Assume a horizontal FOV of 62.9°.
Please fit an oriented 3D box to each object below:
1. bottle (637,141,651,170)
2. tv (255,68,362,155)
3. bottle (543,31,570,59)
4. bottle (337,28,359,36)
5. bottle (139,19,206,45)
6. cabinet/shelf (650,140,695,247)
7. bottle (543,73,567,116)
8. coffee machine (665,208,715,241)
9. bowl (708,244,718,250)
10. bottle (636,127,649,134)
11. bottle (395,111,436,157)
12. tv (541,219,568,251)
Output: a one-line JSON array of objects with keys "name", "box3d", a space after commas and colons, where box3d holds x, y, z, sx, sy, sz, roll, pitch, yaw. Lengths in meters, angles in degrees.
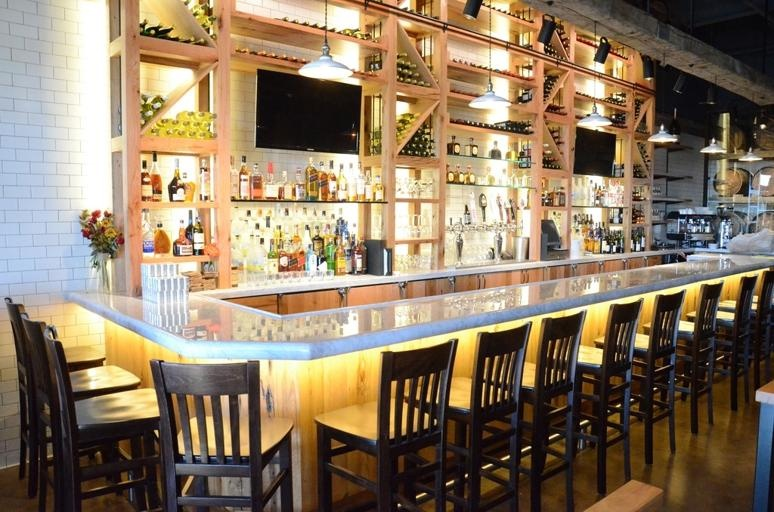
[{"name": "bottle", "box3d": [4.107, -1.590, 10.114, 0.137, 0.451, 0.171, -7, -12, -41]}, {"name": "tv", "box3d": [-0.804, -1.483, 6.551, 1.158, 0.797, 0.048, -7, 17, -30]}, {"name": "bottle", "box3d": [2.255, -2.800, 8.453, 0.460, 0.345, 0.249, -20, 13, -41]}, {"name": "bottle", "box3d": [-0.400, -2.321, 6.579, 0.221, 0.069, 0.112, -12, 20, -43]}, {"name": "bottle", "box3d": [-1.954, -1.979, 5.728, 0.295, 0.177, 0.495, 14, 8, 42]}, {"name": "cabinet/shelf", "box3d": [5.100, -1.092, 11.382, 0.603, 1.901, 2.050, 1, 2, 34]}, {"name": "bottle", "box3d": [2.253, -2.207, 8.599, 0.159, 0.601, 0.455, 11, 7, 42]}, {"name": "coffee machine", "box3d": [5.439, -0.518, 11.356, 0.843, 0.557, 0.487, -1, 4, -33]}, {"name": "bowl", "box3d": [5.145, -0.153, 9.982, 0.136, 0.055, 0.122, -3, 4, -13]}, {"name": "bottle", "box3d": [4.059, -1.991, 10.044, 0.199, 0.144, 0.047, 5, -10, -27]}, {"name": "bottle", "box3d": [0.330, -1.383, 7.261, 0.492, 0.464, 0.146, -2, 9, -44]}, {"name": "tv", "box3d": [2.304, -0.286, 8.720, 0.253, 0.505, 0.431, -5, 0, 39]}]
